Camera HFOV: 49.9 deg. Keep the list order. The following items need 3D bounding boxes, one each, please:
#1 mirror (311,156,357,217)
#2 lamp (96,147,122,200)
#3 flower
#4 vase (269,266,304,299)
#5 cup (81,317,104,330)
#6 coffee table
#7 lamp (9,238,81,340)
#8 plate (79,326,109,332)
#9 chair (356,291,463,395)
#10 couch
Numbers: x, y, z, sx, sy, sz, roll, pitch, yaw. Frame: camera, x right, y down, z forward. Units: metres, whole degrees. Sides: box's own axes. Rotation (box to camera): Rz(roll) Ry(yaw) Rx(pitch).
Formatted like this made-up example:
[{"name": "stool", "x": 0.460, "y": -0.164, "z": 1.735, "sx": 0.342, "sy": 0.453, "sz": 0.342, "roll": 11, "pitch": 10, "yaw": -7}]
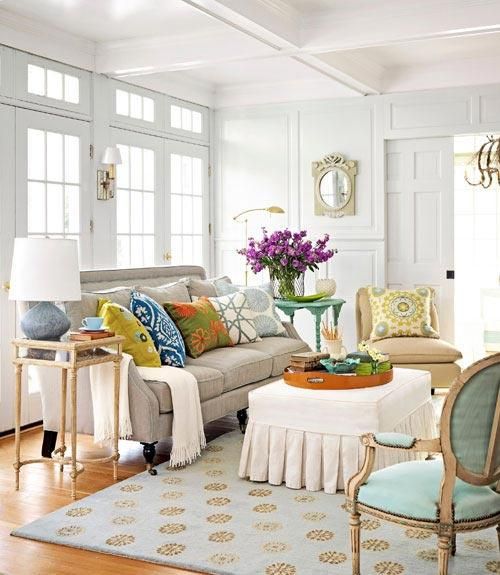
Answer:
[{"name": "mirror", "x": 0.903, "y": -1.073, "z": 5.695, "sx": 0.474, "sy": 0.654, "sz": 0.081, "roll": -3, "pitch": -2, "yaw": 27}, {"name": "lamp", "x": -1.210, "y": -0.956, "z": 4.619, "sx": 0.202, "sy": 0.441, "sz": 0.408, "roll": -1, "pitch": -2, "yaw": -15}, {"name": "flower", "x": 0.353, "y": -0.202, "z": 5.171, "sx": 0.883, "sy": 0.572, "sz": 0.793, "roll": 7, "pitch": -19, "yaw": -25}, {"name": "vase", "x": 0.359, "y": -0.021, "z": 4.984, "sx": 0.290, "sy": 0.176, "sz": 0.246, "roll": 0, "pitch": -4, "yaw": -4}, {"name": "cup", "x": -0.814, "y": 0.184, "z": 2.763, "sx": 0.109, "sy": 0.054, "sz": 0.078, "roll": -2, "pitch": 1, "yaw": 2}, {"name": "coffee table", "x": 0.463, "y": 0.681, "z": 2.954, "sx": 1.055, "sy": 0.414, "sz": 0.763, "roll": -6, "pitch": 12, "yaw": -1}, {"name": "lamp", "x": -0.995, "y": 0.012, "z": 2.606, "sx": 0.308, "sy": 0.501, "sz": 0.287, "roll": -1, "pitch": -2, "yaw": -22}, {"name": "plate", "x": -0.788, "y": 0.216, "z": 2.739, "sx": 0.144, "sy": 0.028, "sz": 0.139, "roll": -1, "pitch": -2, "yaw": -15}, {"name": "chair", "x": 1.365, "y": 0.487, "z": 4.834, "sx": 0.949, "sy": 0.869, "sz": 0.947, "roll": 4, "pitch": 3, "yaw": 13}, {"name": "couch", "x": -0.427, "y": 0.428, "z": 3.916, "sx": 1.122, "sy": 0.951, "sz": 2.222, "roll": 9, "pitch": 6, "yaw": 28}]
